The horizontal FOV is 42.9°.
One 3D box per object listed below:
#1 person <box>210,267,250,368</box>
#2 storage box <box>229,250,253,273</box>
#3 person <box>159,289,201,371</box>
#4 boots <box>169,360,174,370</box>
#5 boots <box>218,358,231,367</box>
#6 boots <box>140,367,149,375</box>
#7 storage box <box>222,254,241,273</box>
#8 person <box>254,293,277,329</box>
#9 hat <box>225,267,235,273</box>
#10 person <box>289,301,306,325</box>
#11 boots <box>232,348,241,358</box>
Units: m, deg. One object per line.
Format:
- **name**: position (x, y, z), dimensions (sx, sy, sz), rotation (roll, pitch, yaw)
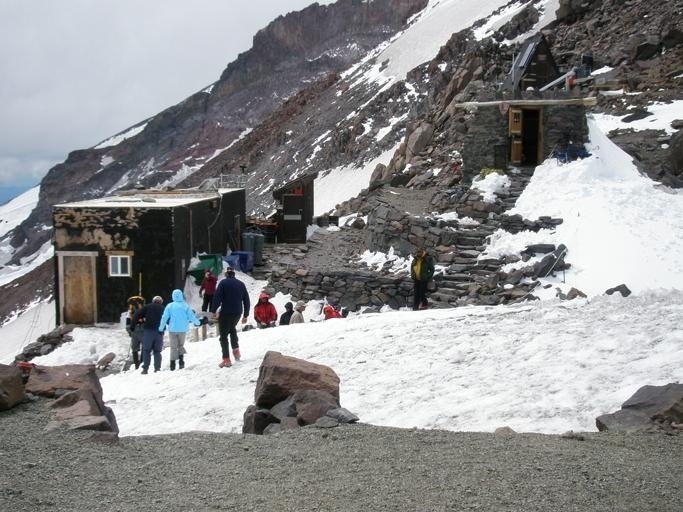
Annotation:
- **person**: position (-2.946, 1.644, 23.271), dimensions (0.960, 2.627, 1.015), rotation (-2, 5, -8)
- **storage box**: position (-4.314, 0.238, 37.130), dimensions (0.881, 0.670, 0.898), rotation (-1, 9, 10)
- **person**: position (-4.476, 1.995, 24.084), dimensions (1.041, 2.194, 0.874), rotation (-2, 5, -12)
- **boots**: position (-4.613, 2.983, 23.928), dimensions (0.147, 0.267, 0.399), rotation (-2, 6, -9)
- **boots**: position (-3.104, 2.850, 23.265), dimensions (0.423, 0.296, 0.157), rotation (7, 7, 43)
- **boots**: position (-5.402, 3.193, 24.113), dimensions (0.200, 0.220, 0.145), rotation (2, -17, -2)
- **storage box**: position (-4.514, 0.206, 36.248), dimensions (0.963, 0.455, 1.577), rotation (-1, 14, -10)
- **person**: position (-2.356, 1.677, 26.844), dimensions (0.622, 1.126, 1.004), rotation (-2, 5, -8)
- **hat**: position (-2.977, 0.363, 23.349), dimensions (0.292, 0.137, 0.414), rotation (0, -4, -11)
- **person**: position (-1.342, 1.726, 26.430), dimensions (0.460, 0.666, 0.856), rotation (-2, 6, -4)
- **boots**: position (-2.803, 2.615, 23.354), dimensions (0.118, 0.318, 0.146), rotation (-1, 46, -6)
